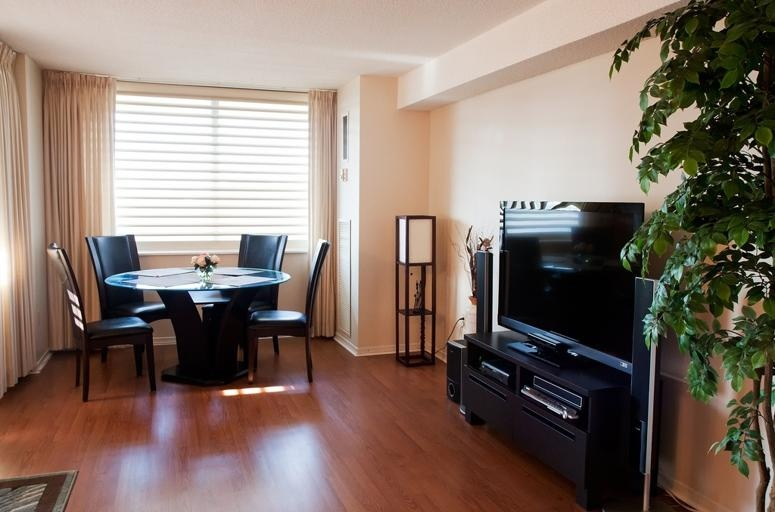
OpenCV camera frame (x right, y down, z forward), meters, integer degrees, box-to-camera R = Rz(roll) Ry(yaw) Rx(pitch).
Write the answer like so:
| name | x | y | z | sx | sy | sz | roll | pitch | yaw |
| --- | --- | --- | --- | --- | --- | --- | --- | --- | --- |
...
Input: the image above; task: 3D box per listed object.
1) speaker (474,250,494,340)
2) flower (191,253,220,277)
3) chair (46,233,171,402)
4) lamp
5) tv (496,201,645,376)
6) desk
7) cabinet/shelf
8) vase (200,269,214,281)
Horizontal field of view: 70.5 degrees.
| name | x | y | z | sx | sy | sz | roll | pitch | yaw |
| --- | --- | --- | --- | --- | --- | --- | --- | --- | --- |
| speaker | 0.761 | 0.280 | 4.350 | 0.108 | 0.643 | 0.196 | 0 | 14 | -3 |
| flower | -1.654 | 0.072 | 4.972 | 0.210 | 0.195 | 0.204 | -3 | 13 | -14 |
| chair | -2.638 | 0.464 | 5.598 | 1.319 | 2.121 | 1.152 | -4 | 9 | -27 |
| lamp | 0.288 | 0.328 | 5.620 | 0.454 | 1.504 | 0.715 | 1 | 14 | 0 |
| tv | 1.239 | 0.226 | 3.648 | 0.213 | 0.874 | 1.235 | -3 | 8 | -30 |
| desk | -1.670 | 0.645 | 5.305 | 1.285 | 0.708 | 1.200 | 2 | 9 | 5 |
| cabinet/shelf | 1.069 | 1.077 | 3.734 | 0.412 | 0.726 | 1.123 | -9 | 16 | -36 |
| vase | -1.629 | 0.172 | 4.891 | 0.086 | 0.067 | 0.096 | 0 | 9 | -11 |
